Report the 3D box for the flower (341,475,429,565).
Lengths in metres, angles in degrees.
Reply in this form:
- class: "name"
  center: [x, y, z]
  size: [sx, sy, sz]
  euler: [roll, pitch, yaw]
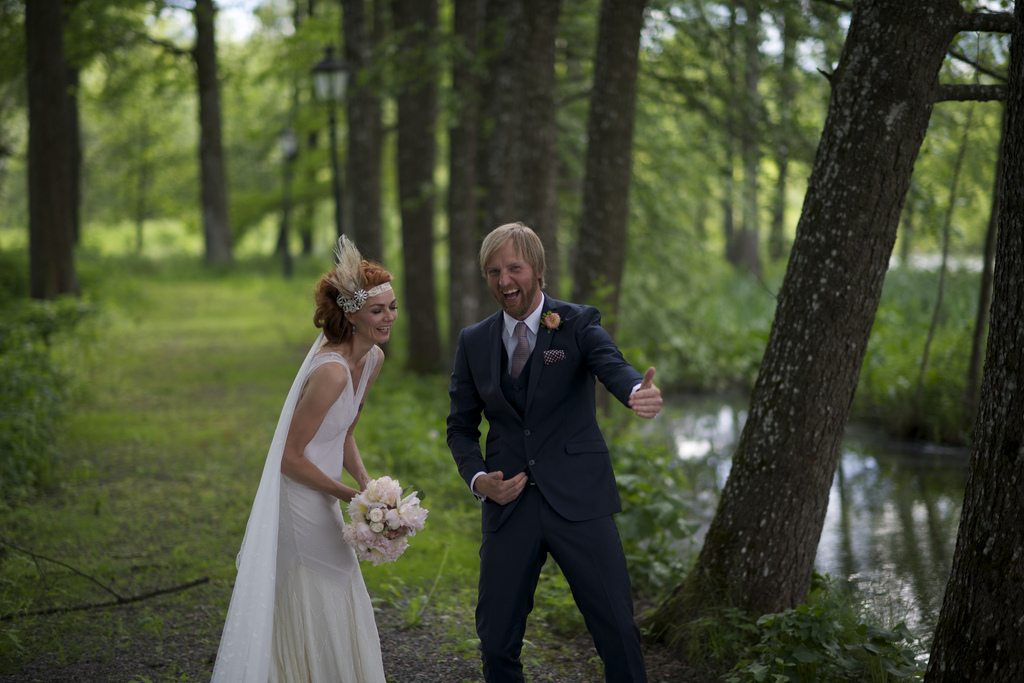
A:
- class: "flower"
  center: [-1.002, 1.385, 11.534]
  size: [0.412, 0.422, 0.411]
  euler: [-11, 25, 14]
